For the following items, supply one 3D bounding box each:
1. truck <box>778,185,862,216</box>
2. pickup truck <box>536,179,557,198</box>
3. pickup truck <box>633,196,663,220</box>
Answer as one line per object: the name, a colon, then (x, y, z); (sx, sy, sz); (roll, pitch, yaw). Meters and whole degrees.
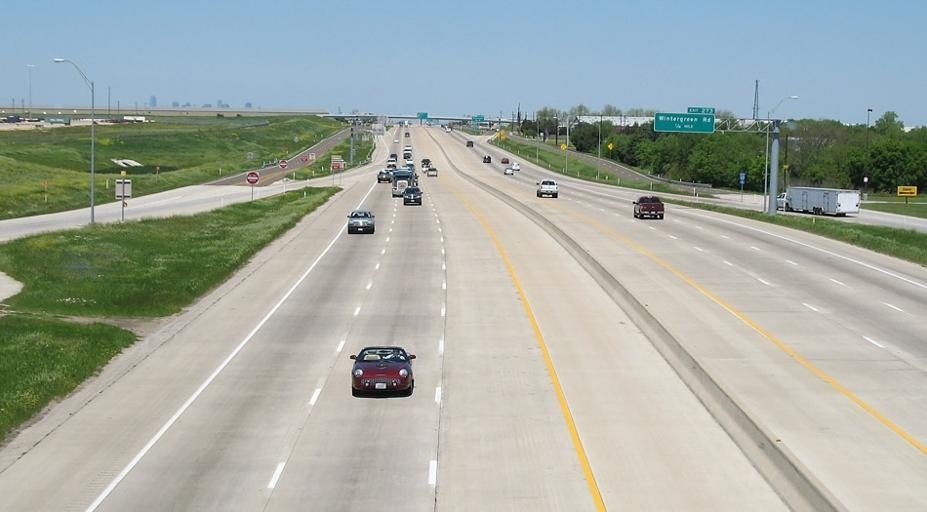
truck: (44.248, -6.790, 107.150); (4.298, 2.751, 11.400); (1, 8, -16)
pickup truck: (10.759, -8.674, 111.243); (2.538, 1.938, 2.584); (-2, 15, -9)
pickup truck: (19.139, -5.286, 90.480); (1.958, 1.318, 3.385); (0, 8, -3)
